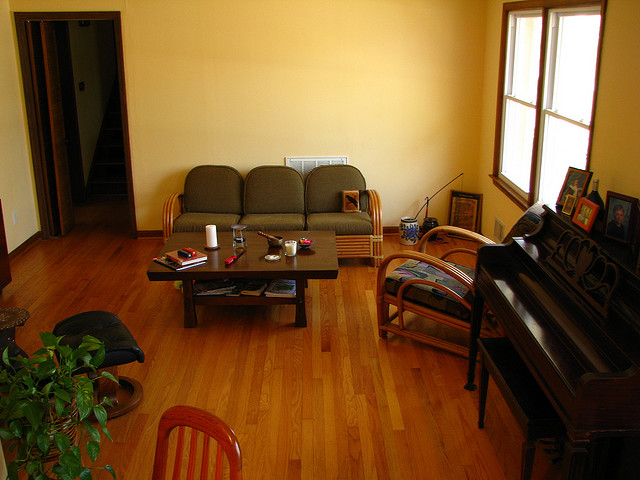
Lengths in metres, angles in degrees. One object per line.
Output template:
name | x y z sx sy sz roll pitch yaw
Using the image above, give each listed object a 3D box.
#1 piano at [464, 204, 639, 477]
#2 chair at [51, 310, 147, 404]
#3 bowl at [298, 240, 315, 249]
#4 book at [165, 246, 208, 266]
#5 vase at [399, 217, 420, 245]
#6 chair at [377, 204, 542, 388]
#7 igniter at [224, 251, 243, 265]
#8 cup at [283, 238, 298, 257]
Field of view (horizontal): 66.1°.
piano | 1.167 0.508 2.451 0.378 1.180 1.076 3 -70 4
chair | -1.241 0.673 2.777 0.357 0.547 0.309 -8 -72 -15
bowl | -0.122 0.029 4.275 0.131 0.087 0.083 1 -33 0
book | -1.071 0.130 3.961 0.184 0.185 0.039 18 -73 34
vase | 1.029 -0.122 5.662 0.218 0.298 0.297 6 -66 11
chair | 1.029 0.227 3.737 1.062 0.971 1.154 9 -66 20
igniter | -0.712 0.142 4.001 0.032 0.197 0.035 -6 -69 24
cup | -0.268 0.067 4.165 0.089 0.143 0.124 5 -77 14
